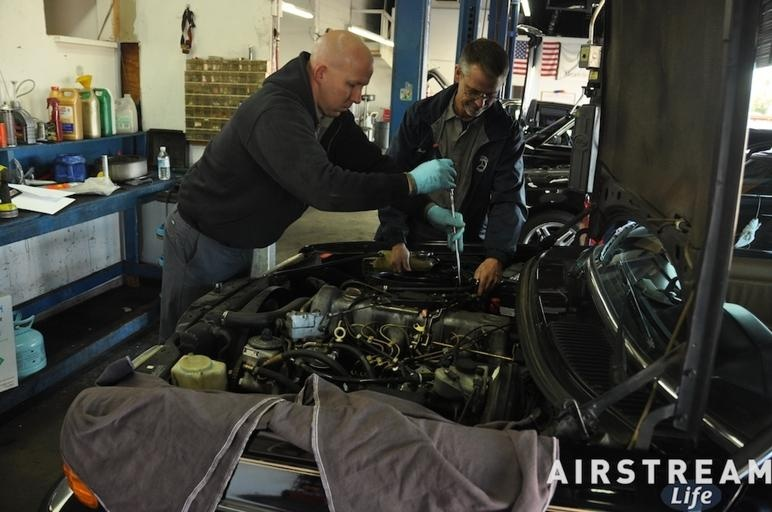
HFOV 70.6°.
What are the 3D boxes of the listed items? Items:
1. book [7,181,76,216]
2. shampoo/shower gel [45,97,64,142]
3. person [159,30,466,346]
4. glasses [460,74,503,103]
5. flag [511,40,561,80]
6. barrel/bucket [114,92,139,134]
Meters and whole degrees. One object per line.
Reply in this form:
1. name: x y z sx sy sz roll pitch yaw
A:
1. book: -2.288 -0.389 3.659 0.345 0.154 0.434 -10 21 -34
2. shampoo/shower gel: -2.534 -1.053 4.188 0.086 0.323 0.200 -8 19 -30
3. person: -0.397 -0.280 2.760 1.534 1.623 0.954 -4 17 -19
4. glasses: 0.520 -0.915 2.967 0.132 0.098 0.177 0 20 -3
5. flag: 4.182 -5.505 15.270 1.578 1.132 0.070 -5 0 -30
6. barrel/bucket: -2.359 -1.302 4.967 0.186 0.334 0.330 -5 18 -22
